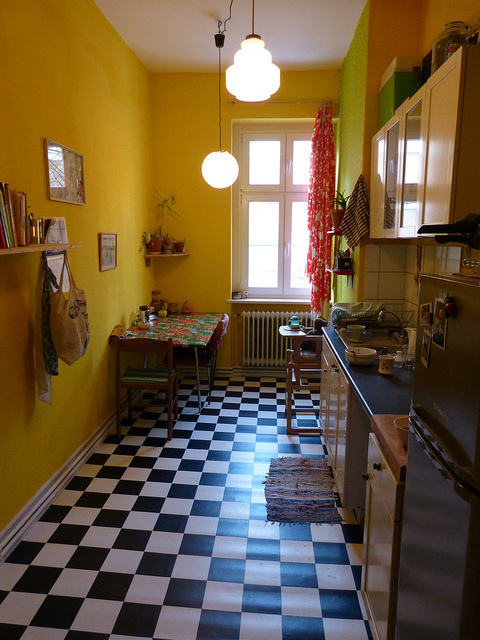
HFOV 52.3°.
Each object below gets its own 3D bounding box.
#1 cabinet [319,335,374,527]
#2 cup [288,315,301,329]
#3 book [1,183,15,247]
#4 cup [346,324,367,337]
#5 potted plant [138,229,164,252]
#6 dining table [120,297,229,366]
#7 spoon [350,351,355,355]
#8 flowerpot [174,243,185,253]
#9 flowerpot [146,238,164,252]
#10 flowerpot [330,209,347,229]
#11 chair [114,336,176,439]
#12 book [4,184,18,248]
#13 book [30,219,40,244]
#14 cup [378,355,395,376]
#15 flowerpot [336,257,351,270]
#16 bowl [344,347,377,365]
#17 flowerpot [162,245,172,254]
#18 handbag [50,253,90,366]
[{"bbox_3d":[0.544,0.575,2.462,0.335,0.531,0.724,3,12,7],"label":"cabinet"},{"bbox_3d":[0.439,0.022,3.940,0.123,0.149,0.095,0,5,-1],"label":"cup"},{"bbox_3d":[-0.924,-0.396,1.897,0.034,0.193,0.161,-3,6,-13],"label":"book"},{"bbox_3d":[0.705,0.065,2.978,0.097,0.060,0.076,-5,0,27],"label":"cup"},{"bbox_3d":[-0.854,-0.768,4.625,0.162,0.231,0.206,-1,-3,-7],"label":"potted plant"},{"bbox_3d":[-0.522,0.083,4.193,0.468,0.216,0.883,3,28,-2],"label":"dining table"},{"bbox_3d":[0.575,0.168,2.485,0.022,0.006,0.037,2,9,9],"label":"spoon"},{"bbox_3d":[-0.608,-0.700,4.748,0.065,0.071,0.080,0,7,7],"label":"flowerpot"},{"bbox_3d":[-0.812,-0.690,4.596,0.108,0.115,0.116,0,3,11],"label":"flowerpot"},{"bbox_3d":[0.757,-0.775,3.770,0.108,0.142,0.098,4,9,25],"label":"flowerpot"},{"bbox_3d":[-0.710,0.440,3.607,0.389,0.791,0.493,3,11,4],"label":"chair"},{"bbox_3d":[-0.919,-0.410,1.919,0.033,0.189,0.159,3,-2,-8],"label":"book"},{"bbox_3d":[-0.929,-0.392,2.171,0.023,0.107,0.068,1,8,7],"label":"book"},{"bbox_3d":[0.724,0.232,2.410,0.090,0.098,0.061,3,2,43],"label":"cup"},{"bbox_3d":[0.782,-0.419,3.662,0.064,0.110,0.099,-1,9,-9],"label":"flowerpot"},{"bbox_3d":[0.633,0.190,2.540,0.183,0.073,0.153,-8,12,-43],"label":"bowl"},{"bbox_3d":[-0.718,-0.659,4.653,0.064,0.095,0.075,0,3,9],"label":"flowerpot"},{"bbox_3d":[-0.918,-0.061,2.579,0.176,0.542,0.407,-2,8,-17],"label":"handbag"}]
